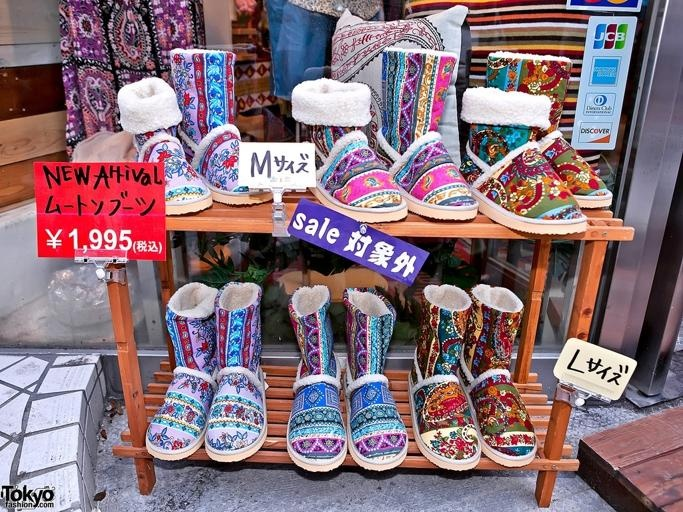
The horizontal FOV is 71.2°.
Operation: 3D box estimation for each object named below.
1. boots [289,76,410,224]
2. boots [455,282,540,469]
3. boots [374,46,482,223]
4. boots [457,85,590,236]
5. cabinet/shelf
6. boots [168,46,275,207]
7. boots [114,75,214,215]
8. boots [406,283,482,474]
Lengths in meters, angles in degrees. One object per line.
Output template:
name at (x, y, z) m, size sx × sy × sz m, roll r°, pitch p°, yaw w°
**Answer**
boots at (0.018, -0.269, 1.174) m, size 0.170 × 0.262 × 0.405 m, roll -14°, pitch 36°, yaw -30°
boots at (0.326, 0.292, 1.331) m, size 0.161 × 0.325 × 0.471 m, roll -6°, pitch 47°, yaw -5°
boots at (0.219, -0.328, 1.198) m, size 0.180 × 0.354 × 0.468 m, roll -10°, pitch 34°, yaw -17°
boots at (0.436, -0.234, 1.144) m, size 0.214 × 0.298 × 0.321 m, roll -6°, pitch 27°, yaw -11°
cabinet/shelf at (0.053, 0.198, 1.420) m, size 1.307 × 0.842 × 0.622 m, roll 1°, pitch 26°, yaw 2°
boots at (-0.310, -0.337, 1.249) m, size 0.151 × 0.367 × 0.353 m, roll -18°, pitch 34°, yaw -40°
boots at (-0.442, -0.280, 1.172) m, size 0.136 × 0.203 × 0.412 m, roll -15°, pitch 40°, yaw -24°
boots at (0.289, 0.318, 1.347) m, size 0.175 × 0.340 × 0.474 m, roll 1°, pitch 15°, yaw 4°
